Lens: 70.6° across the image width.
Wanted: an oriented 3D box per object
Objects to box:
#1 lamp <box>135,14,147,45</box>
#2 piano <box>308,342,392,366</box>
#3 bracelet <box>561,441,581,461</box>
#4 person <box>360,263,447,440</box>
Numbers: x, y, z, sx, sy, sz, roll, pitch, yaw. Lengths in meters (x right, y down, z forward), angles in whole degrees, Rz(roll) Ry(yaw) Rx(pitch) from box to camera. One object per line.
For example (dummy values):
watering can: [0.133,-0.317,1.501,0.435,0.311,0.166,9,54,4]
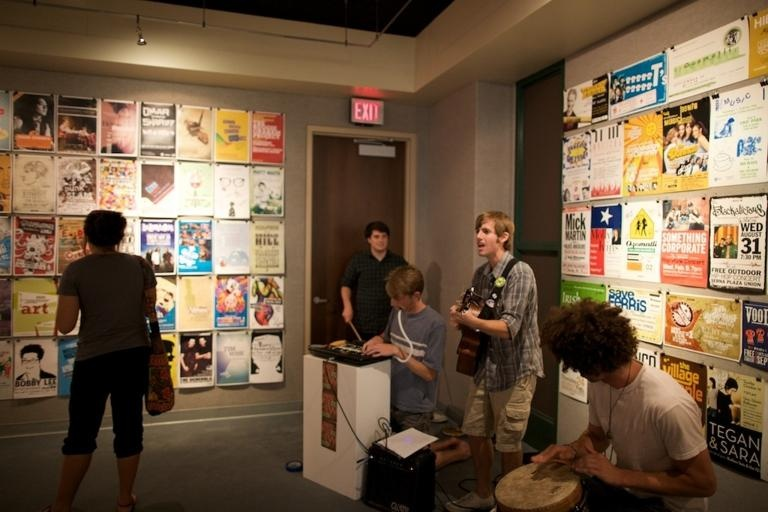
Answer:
lamp: [-2.208,-2.074,4.936,0.085,0.305,0.417,-5,14,-23]
piano: [-0.290,0.774,4.324,0.619,0.095,0.278,10,16,34]
bracelet: [1.170,1.213,3.388,0.039,0.071,0.098,36,35,1]
person: [0.170,0.747,4.336,0.617,1.320,0.460,6,14,21]
